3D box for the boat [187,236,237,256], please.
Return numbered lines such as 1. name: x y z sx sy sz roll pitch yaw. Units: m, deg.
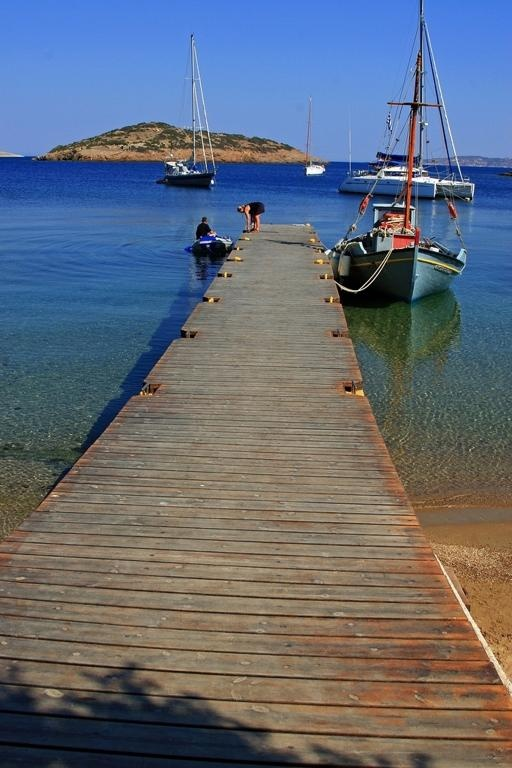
1. boat: -1.641 -5.159 26.495 1.397 0.885 2.194 4 19 -1
